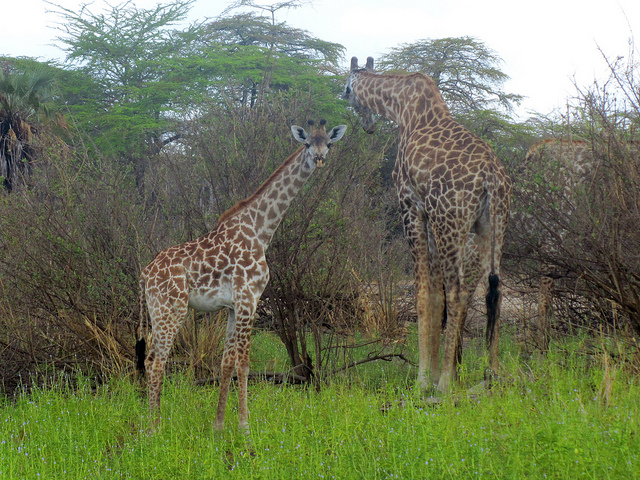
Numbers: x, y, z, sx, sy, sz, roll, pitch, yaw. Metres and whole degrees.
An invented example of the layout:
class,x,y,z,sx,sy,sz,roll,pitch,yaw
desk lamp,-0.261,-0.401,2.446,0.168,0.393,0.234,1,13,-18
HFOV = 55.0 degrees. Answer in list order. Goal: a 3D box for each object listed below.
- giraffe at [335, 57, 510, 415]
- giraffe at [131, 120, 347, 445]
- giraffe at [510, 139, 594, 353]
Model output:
class,x,y,z,sx,sy,sz,roll,pitch,yaw
giraffe,1.548,-0.313,8.605,1.284,5.272,2.164,11,-16,-39
giraffe,-0.967,0.636,8.226,2.545,3.946,2.399,1,-13,2
giraffe,3.541,-0.078,9.315,1.240,3.600,1.912,-3,-13,20
